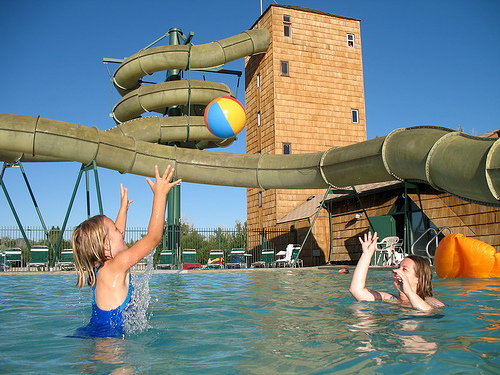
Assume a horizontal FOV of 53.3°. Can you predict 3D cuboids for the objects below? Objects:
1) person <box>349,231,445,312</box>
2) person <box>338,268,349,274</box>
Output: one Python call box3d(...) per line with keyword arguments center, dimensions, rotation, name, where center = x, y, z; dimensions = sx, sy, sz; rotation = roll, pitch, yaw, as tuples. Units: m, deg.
box3d(center=(2.048, 1.235, 7.334), dimensions=(1.659, 1.070, 0.939), rotation=(10, -10, -38), name="person")
box3d(center=(2.698, 2.414, 14.414), dimensions=(0.279, 0.138, 1.091), rotation=(2, -8, 11), name="person")
